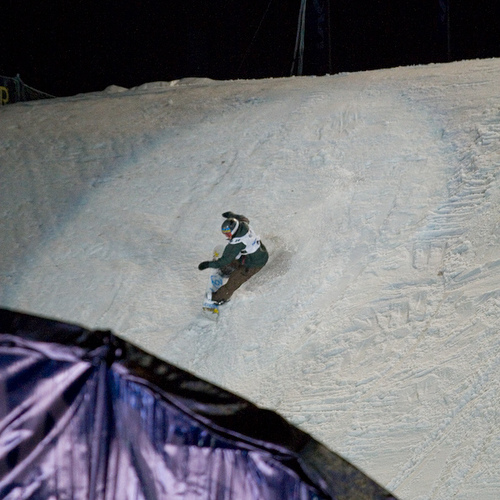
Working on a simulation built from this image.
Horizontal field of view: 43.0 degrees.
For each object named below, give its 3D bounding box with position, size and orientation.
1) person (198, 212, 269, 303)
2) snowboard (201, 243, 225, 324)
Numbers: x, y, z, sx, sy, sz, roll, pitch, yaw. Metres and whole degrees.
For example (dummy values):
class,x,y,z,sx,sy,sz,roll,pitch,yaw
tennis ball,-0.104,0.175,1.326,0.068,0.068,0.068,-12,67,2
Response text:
class,x,y,z,sx,sy,sz,roll,pitch,yaw
person,-0.243,0.183,8.750,0.932,1.197,0.909,11,32,6
snowboard,-0.504,0.588,8.967,0.326,0.172,1.002,1,34,-1
